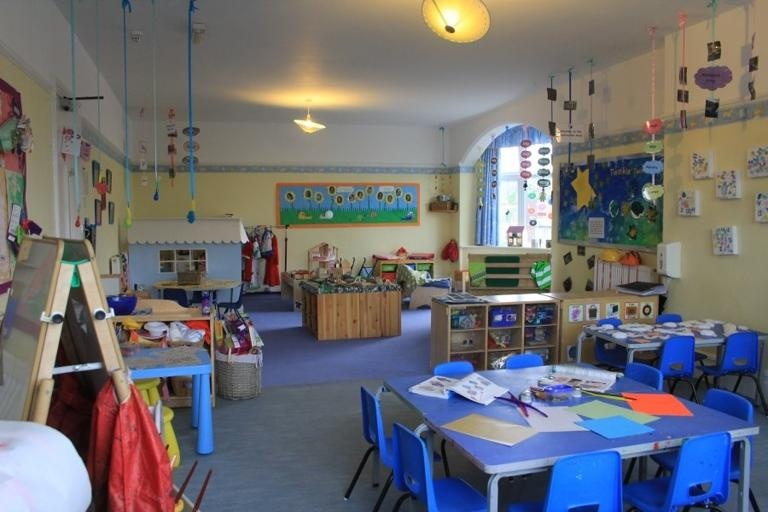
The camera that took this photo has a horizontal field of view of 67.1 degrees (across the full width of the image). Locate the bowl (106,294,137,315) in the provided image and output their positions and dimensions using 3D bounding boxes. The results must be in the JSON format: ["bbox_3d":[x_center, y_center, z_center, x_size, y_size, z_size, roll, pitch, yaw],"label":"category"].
[{"bbox_3d":[-2.687,0.506,5.952,0.371,0.264,0.288,0,1,-21],"label":"bowl"}]

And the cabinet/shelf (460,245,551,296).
[{"bbox_3d":[1.948,0.269,9.739,1.477,0.948,0.965,0,-1,-2],"label":"cabinet/shelf"}]

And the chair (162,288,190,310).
[{"bbox_3d":[-2.972,0.609,8.283,0.287,0.470,0.326,1,2,4],"label":"chair"}]

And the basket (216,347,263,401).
[{"bbox_3d":[-1.642,1.333,6.710,0.520,0.495,0.513,-1,2,-30],"label":"basket"}]

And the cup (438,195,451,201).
[{"bbox_3d":[1.437,-1.337,13.369,0.351,0.169,0.217,-1,1,-17],"label":"cup"}]

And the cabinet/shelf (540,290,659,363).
[{"bbox_3d":[2.698,1.168,7.433,1.401,1.035,0.809,0,4,-13],"label":"cabinet/shelf"}]

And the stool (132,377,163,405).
[{"bbox_3d":[-2.117,1.224,5.189,0.208,0.231,0.282,-1,1,-25],"label":"stool"}]

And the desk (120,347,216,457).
[{"bbox_3d":[-1.922,1.356,5.380,1.015,0.938,0.991,0,-1,-26],"label":"desk"}]

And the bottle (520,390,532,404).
[{"bbox_3d":[1.109,1.108,4.530,0.080,0.077,0.080,2,-2,-6],"label":"bottle"}]
